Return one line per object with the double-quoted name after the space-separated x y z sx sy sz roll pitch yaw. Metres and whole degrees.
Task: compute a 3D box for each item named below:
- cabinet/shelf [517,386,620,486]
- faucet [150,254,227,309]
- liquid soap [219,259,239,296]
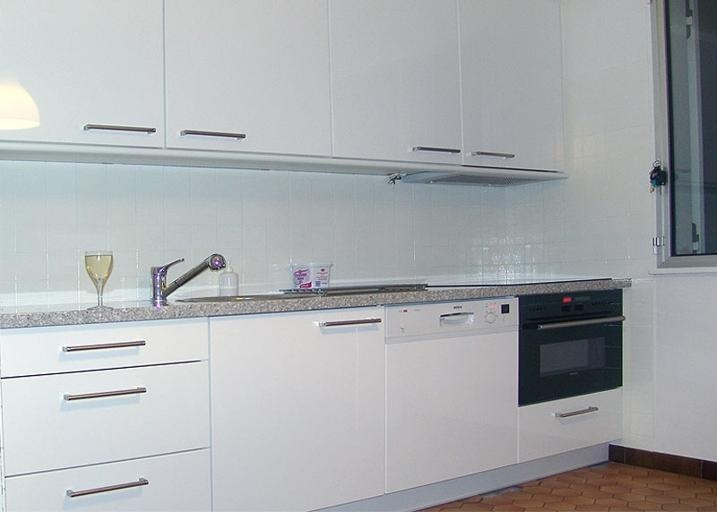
1.139 0.965 3.218 0.509 0.393 0.221 3 -1 -29 "cabinet/shelf"
-0.894 0.089 2.929 0.218 0.190 0.440 11 14 39 "faucet"
-0.728 0.136 3.114 0.096 0.167 0.098 14 -2 19 "liquid soap"
